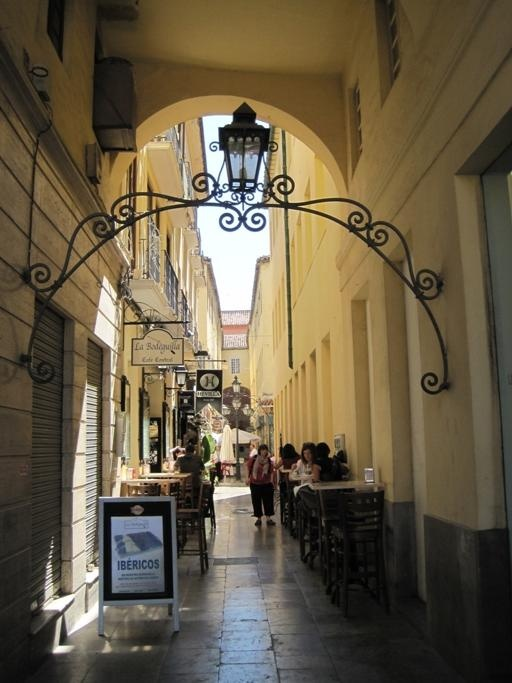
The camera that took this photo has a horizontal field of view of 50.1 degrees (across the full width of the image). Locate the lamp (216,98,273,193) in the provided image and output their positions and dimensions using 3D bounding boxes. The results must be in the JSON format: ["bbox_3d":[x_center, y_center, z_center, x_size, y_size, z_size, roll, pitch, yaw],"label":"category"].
[{"bbox_3d":[-0.080,-1.433,3.996,0.389,0.572,0.442,-1,-11,-4],"label":"lamp"}]
